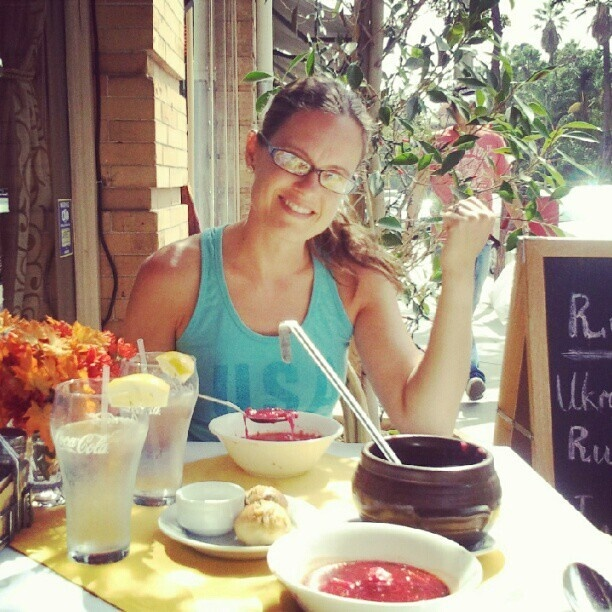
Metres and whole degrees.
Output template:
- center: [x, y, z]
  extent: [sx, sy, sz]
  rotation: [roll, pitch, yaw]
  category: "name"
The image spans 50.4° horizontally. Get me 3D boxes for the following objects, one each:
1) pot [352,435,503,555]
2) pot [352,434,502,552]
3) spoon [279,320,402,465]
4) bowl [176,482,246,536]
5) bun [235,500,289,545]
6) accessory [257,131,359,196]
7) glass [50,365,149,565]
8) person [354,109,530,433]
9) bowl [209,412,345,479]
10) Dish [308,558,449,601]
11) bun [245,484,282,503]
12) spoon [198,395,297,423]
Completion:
- center: [0.182, 0.271, 1.065]
  extent: [0.170, 0.138, 0.183]
  rotation: [0, 0, 0]
  category: "pot"
- center: [0.202, 0.320, 1.082]
  extent: [0.222, 0.179, 0.236]
  rotation: [1, 5, 0]
  category: "pot"
- center: [0.086, 0.210, 1.726]
  extent: [0.037, 0.494, 0.129]
  rotation: [-23, -8, -3]
  category: "spoon"
- center: [-0.166, 0.342, 1.092]
  extent: [0.116, 0.071, 0.115]
  rotation: [4, 2, 0]
  category: "bowl"
- center: [-0.068, 0.337, 1.013]
  extent: [0.064, 0.040, 0.069]
  rotation: [-4, 12, -6]
  category: "bun"
- center: [0.009, -0.398, 1.893]
  extent: [0.246, 0.112, 0.076]
  rotation: [4, 2, -2]
  category: "accessory"
- center: [-0.318, 0.241, 1.008]
  extent: [0.129, 0.299, 0.129]
  rotation: [-1, 9, -27]
  category: "glass"
- center: [0.341, -0.015, 1.826]
  extent: [0.129, 0.682, 0.417]
  rotation: [15, -21, -32]
  category: "person"
- center: [-0.063, 0.303, 1.424]
  extent: [0.295, 0.117, 0.299]
  rotation: [1, 1, 0]
  category: "bowl"
- center: [0.095, 0.357, 0.844]
  extent: [0.178, 0.013, 0.119]
  rotation: [5, 2, 17]
  category: "Dish"
- center: [-0.073, 0.318, 1.100]
  extent: [0.034, 0.016, 0.033]
  rotation: [7, 4, 12]
  category: "bun"
- center: [-0.164, 0.267, 1.695]
  extent: [0.226, 0.035, 0.125]
  rotation: [9, 0, 20]
  category: "spoon"
